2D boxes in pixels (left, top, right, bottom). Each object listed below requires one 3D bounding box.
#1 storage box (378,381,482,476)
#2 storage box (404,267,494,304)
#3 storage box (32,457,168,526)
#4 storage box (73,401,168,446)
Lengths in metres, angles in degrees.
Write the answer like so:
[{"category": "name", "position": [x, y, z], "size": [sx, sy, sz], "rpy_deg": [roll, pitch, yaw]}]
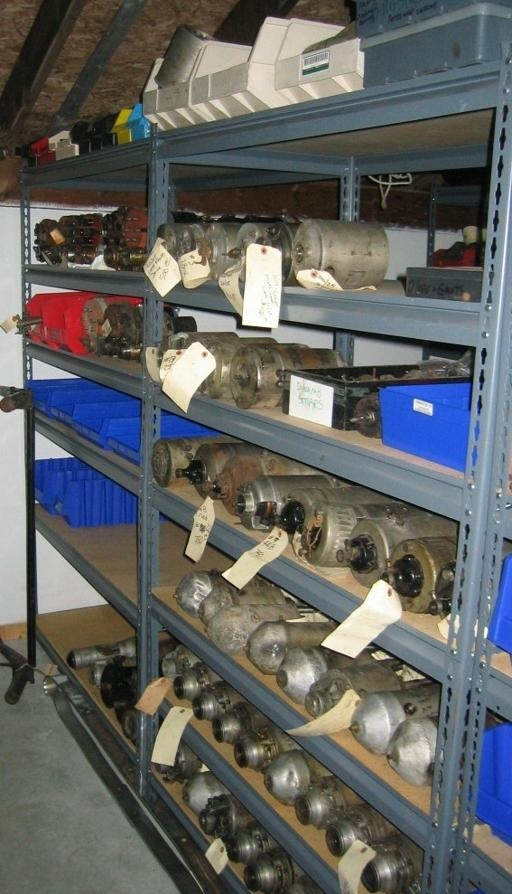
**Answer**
[{"category": "storage box", "position": [0.252, -0.011, 0.878], "size": [0.126, 0.085, 0.129], "rpy_deg": [-13, 19, -40]}, {"category": "storage box", "position": [0.264, -0.227, 0.868], "size": [0.061, 0.057, 0.165], "rpy_deg": [-4, 9, -16]}, {"category": "storage box", "position": [-0.767, 0.170, 2.707], "size": [0.304, 0.150, 0.419], "rpy_deg": [-7, 20, -26]}, {"category": "storage box", "position": [-0.466, -0.080, 2.129], "size": [0.222, 0.064, 0.225], "rpy_deg": [25, 25, 39]}]
